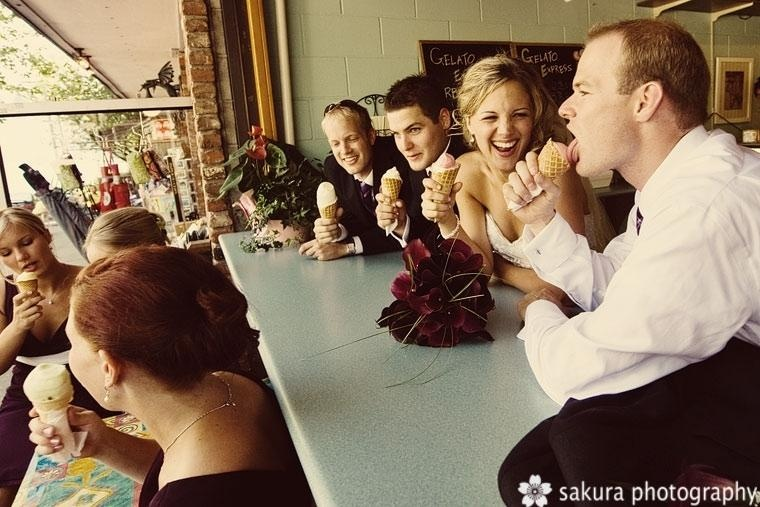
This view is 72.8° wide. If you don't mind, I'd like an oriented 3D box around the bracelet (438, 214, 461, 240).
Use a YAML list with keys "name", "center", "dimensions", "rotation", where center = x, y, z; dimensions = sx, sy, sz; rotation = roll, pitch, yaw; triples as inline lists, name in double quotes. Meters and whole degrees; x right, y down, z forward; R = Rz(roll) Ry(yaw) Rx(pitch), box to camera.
- name: "bracelet"
  center: [0.290, -0.098, 2.066]
  dimensions: [0.101, 0.027, 0.102]
  rotation: [-33, 46, 20]

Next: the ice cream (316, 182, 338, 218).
- name: "ice cream"
  center: [-0.269, -0.262, 2.592]
  dimensions: [0.090, 0.184, 0.123]
  rotation: [-13, 19, -6]

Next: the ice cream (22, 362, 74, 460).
- name: "ice cream"
  center: [-1.060, 0.546, 1.703]
  dimensions: [0.179, 0.330, 0.140]
  rotation: [-1, 6, -42]

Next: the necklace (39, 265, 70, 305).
- name: "necklace"
  center: [-1.620, 0.145, 2.577]
  dimensions: [0.069, 0.194, 0.153]
  rotation: [6, 19, 43]

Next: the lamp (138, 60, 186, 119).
- name: "lamp"
  center: [-2.031, -1.557, 4.741]
  dimensions: [0.327, 0.408, 0.398]
  rotation: [-17, 30, -36]

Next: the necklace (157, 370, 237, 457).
- name: "necklace"
  center: [-0.465, 0.465, 1.444]
  dimensions: [0.203, 0.050, 0.204]
  rotation: [-47, 18, 0]

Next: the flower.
- name: "flower"
  center: [-0.637, -0.352, 2.912]
  dimensions: [0.648, 0.644, 0.545]
  rotation: [-13, -7, 36]

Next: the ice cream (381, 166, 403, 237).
- name: "ice cream"
  center: [0.055, -0.235, 2.443]
  dimensions: [0.111, 0.342, 0.197]
  rotation: [-11, 19, 0]
